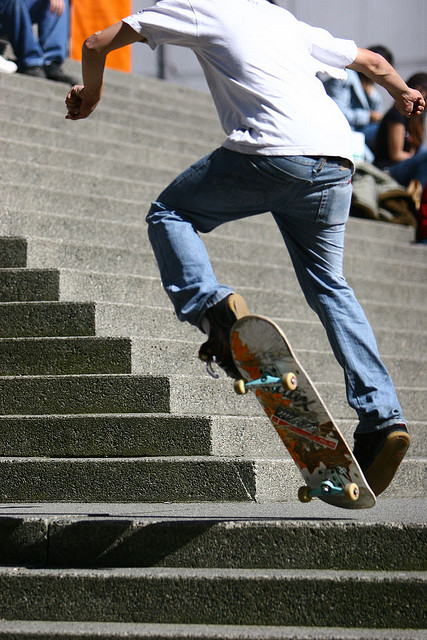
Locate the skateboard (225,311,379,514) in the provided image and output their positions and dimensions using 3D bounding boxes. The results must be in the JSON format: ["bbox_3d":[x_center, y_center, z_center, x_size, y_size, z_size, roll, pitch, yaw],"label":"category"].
[{"bbox_3d":[0.319,0.326,3.038,0.291,0.802,0.140,-11,24,47],"label":"skateboard"}]

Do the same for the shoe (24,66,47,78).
[{"bbox_3d":[-1.295,-1.813,7.152,0.138,0.076,0.098,-8,30,-30],"label":"shoe"}]

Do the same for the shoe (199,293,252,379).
[{"bbox_3d":[0.007,0.076,3.058,0.126,0.094,0.275,17,51,-7],"label":"shoe"}]
